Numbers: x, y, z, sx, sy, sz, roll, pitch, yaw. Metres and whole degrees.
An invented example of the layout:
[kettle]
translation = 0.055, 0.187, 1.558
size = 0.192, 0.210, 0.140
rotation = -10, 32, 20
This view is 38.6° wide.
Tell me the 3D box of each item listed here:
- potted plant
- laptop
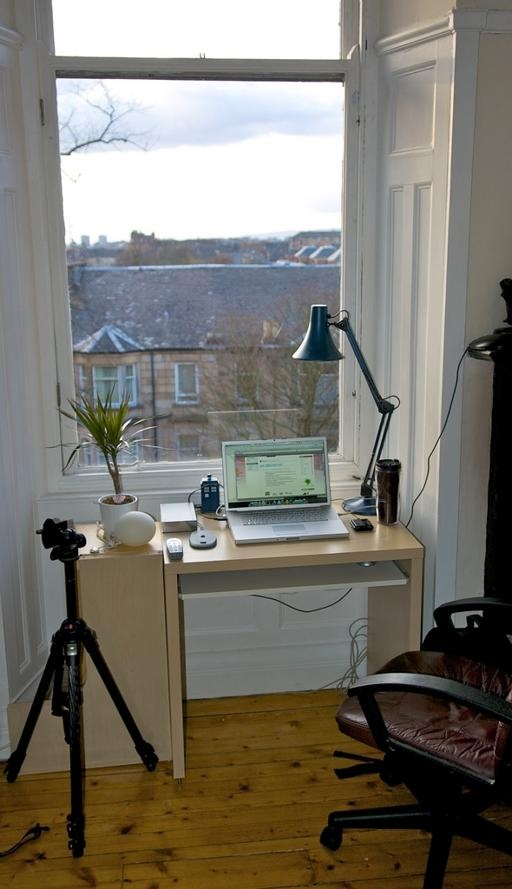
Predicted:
[potted plant]
translation = -0.480, 0.037, 2.494
size = 0.252, 0.341, 0.274
rotation = -8, 0, 42
[laptop]
translation = 0.095, 0.173, 2.485
size = 0.345, 0.278, 0.341
rotation = -3, 21, -11
